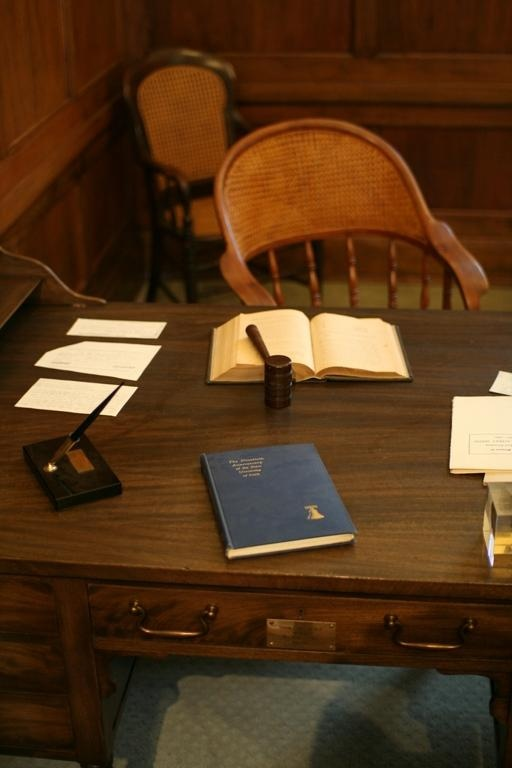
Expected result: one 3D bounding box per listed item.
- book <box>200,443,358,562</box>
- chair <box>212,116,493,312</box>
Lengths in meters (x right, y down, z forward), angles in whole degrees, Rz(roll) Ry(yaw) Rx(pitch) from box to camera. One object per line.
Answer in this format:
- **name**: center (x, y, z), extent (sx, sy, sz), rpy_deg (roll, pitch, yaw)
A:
- **book**: center (0.020, 0.131, 0.809), extent (0.159, 0.034, 0.219), rpy_deg (-7, 30, -8)
- **chair**: center (0.366, -0.608, 2.185), extent (0.660, 0.906, 0.652), rpy_deg (-19, 34, -4)
